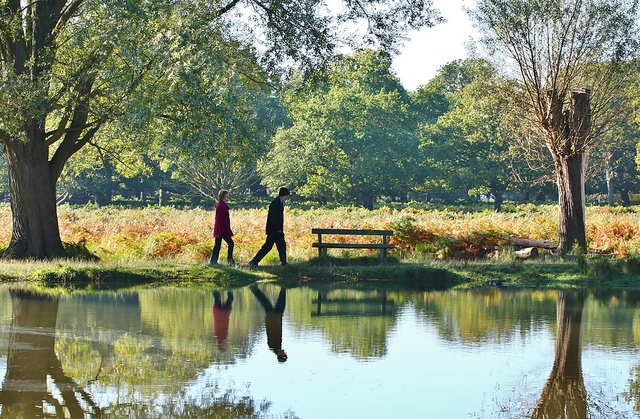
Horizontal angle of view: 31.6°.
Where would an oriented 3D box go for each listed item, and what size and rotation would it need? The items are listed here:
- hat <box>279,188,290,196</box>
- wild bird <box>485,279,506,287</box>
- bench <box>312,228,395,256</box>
[{"bbox_3d":[-1.274,-0.575,39.919,0.329,0.283,0.244,-11,3,15],"label":"hat"},{"bbox_3d":[5.999,2.590,39.100,0.729,0.292,0.874,-4,-7,9],"label":"wild bird"},{"bbox_3d":[1.235,1.367,41.862,2.985,1.063,0.998,1,8,-4],"label":"bench"}]
